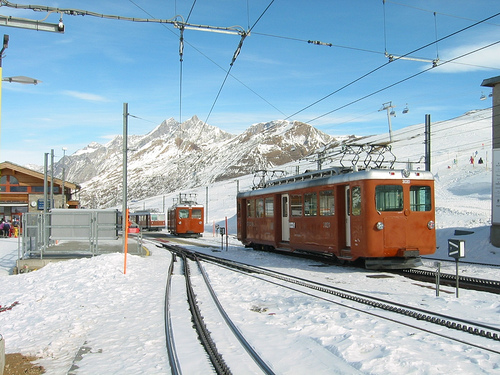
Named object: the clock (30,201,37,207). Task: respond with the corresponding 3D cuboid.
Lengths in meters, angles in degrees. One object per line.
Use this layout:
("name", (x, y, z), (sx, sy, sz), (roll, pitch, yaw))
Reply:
("clock", (-19.397, 1.466, 44.138), (0.404, 0.396, 0.093), (5, -12, -1))
